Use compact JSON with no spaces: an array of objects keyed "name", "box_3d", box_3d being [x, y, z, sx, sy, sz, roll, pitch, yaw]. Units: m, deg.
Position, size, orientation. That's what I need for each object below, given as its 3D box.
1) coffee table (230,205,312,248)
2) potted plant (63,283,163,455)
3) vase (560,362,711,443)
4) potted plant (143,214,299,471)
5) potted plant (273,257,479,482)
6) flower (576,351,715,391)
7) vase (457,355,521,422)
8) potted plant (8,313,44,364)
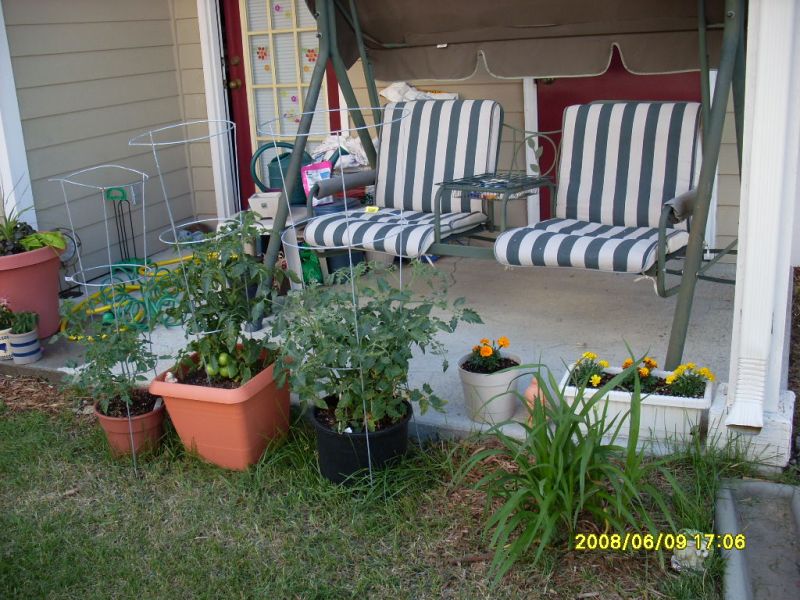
[{"name":"coffee table","box_3d":[-0.742,-0.421,3.684,0.364,0.185,0.287,4,6,23]},{"name":"potted plant","box_3d":[-1.416,0.362,3.099,0.494,0.805,0.474,-15,23,-35]},{"name":"vase","box_3d":[0.978,0.458,2.554,0.457,0.199,0.329,4,19,17]},{"name":"potted plant","box_3d":[-0.805,0.157,2.786,0.636,1.033,0.665,-1,19,-4]},{"name":"potted plant","box_3d":[-0.217,0.082,2.892,1.039,1.092,0.886,4,6,22]},{"name":"flower","box_3d":[1.003,0.326,2.631,0.468,0.122,0.298,4,19,19]},{"name":"vase","box_3d":[0.388,0.414,2.752,0.247,0.241,0.307,-3,17,-2]},{"name":"potted plant","box_3d":[-2.198,0.224,3.655,0.161,0.265,0.143,-3,19,-11]}]
